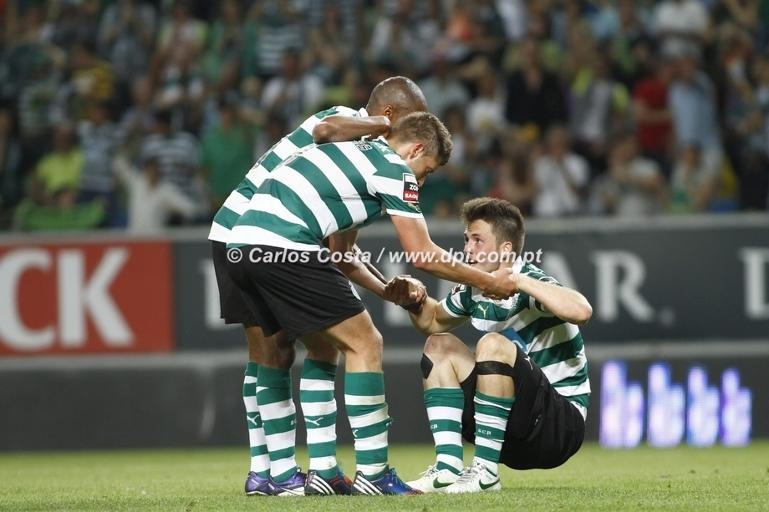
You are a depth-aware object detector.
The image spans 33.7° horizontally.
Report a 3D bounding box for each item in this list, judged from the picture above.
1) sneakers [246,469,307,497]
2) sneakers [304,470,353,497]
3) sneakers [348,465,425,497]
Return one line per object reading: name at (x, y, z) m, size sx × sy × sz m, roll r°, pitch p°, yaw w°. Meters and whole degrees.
sneakers at (-0.856, 1.800, 9.937) m, size 0.544 × 0.244 × 0.202 m, roll -3°, pitch -15°, yaw 12°
sneakers at (-0.428, 1.767, 9.706) m, size 0.432 × 0.210 × 0.154 m, roll 2°, pitch -8°, yaw -9°
sneakers at (0.011, 1.763, 9.783) m, size 0.566 × 0.273 × 0.211 m, roll 4°, pitch -16°, yaw -3°
